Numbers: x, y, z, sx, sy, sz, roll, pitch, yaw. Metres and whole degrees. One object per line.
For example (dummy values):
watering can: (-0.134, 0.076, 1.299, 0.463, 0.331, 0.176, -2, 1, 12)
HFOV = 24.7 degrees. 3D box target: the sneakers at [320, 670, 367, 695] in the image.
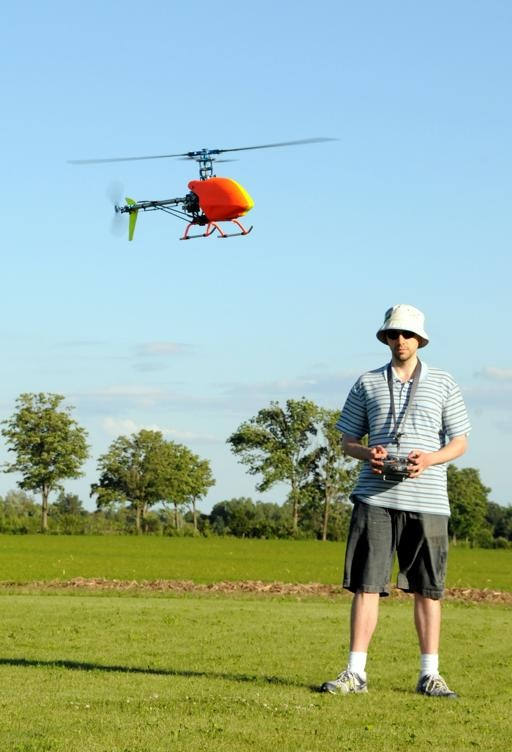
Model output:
sneakers: (0.530, 1.816, 6.909, 0.281, 0.102, 0.104, 5, -14, -15)

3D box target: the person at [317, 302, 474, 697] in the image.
person: (0.894, 0.725, 7.241, 0.817, 2.360, 0.644, 1, -5, 8)

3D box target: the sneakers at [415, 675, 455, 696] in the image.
sneakers: (1.060, 1.841, 6.931, 0.094, 0.076, 0.214, 5, -9, -38)
